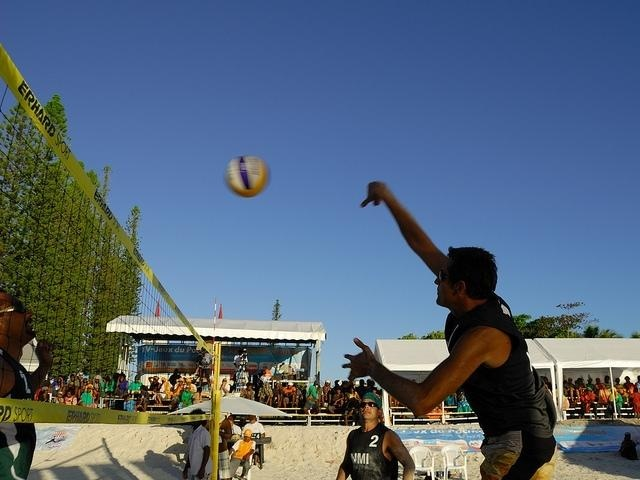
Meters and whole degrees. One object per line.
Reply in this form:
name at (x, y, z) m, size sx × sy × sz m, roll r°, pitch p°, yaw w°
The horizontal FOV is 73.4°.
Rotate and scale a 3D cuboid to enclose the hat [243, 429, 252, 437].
hat at (-1.734, 4.638, 10.336) m, size 0.183 × 0.096 × 0.131 m, roll 3°, pitch -5°, yaw 29°
